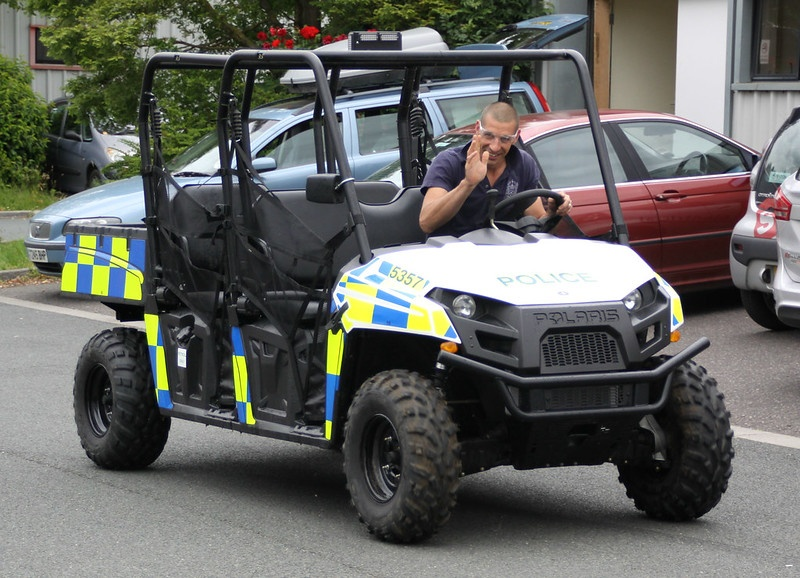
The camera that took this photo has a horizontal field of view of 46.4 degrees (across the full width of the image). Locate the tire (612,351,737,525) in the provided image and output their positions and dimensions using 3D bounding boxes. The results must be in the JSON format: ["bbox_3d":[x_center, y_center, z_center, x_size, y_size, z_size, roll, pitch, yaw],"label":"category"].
[{"bbox_3d":[1.390,0.797,4.822,0.330,0.999,0.890,-3,4,-34],"label":"tire"}]

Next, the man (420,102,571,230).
[{"bbox_3d":[0.529,-0.548,5.274,0.796,0.972,0.739,3,22,-4],"label":"man"}]

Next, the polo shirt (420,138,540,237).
[{"bbox_3d":[0.449,-0.547,5.202,0.639,0.551,0.325,-5,20,-33],"label":"polo shirt"}]

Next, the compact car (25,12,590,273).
[{"bbox_3d":[-0.838,-1.719,12.129,5.083,2.489,2.026,-7,6,-5],"label":"compact car"}]

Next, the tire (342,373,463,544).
[{"bbox_3d":[0.006,0.817,4.535,0.278,0.839,0.757,-1,8,-35],"label":"tire"}]

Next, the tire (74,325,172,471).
[{"bbox_3d":[-1.871,0.729,6.252,0.390,0.898,0.881,1,8,-37],"label":"tire"}]

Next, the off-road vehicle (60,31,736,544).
[{"bbox_3d":[-0.084,0.076,6.121,2.272,2.817,4.201,-3,6,-39],"label":"off-road vehicle"}]

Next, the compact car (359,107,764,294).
[{"bbox_3d":[2.295,-0.768,10.777,5.086,2.247,2.659,-10,2,-25],"label":"compact car"}]
